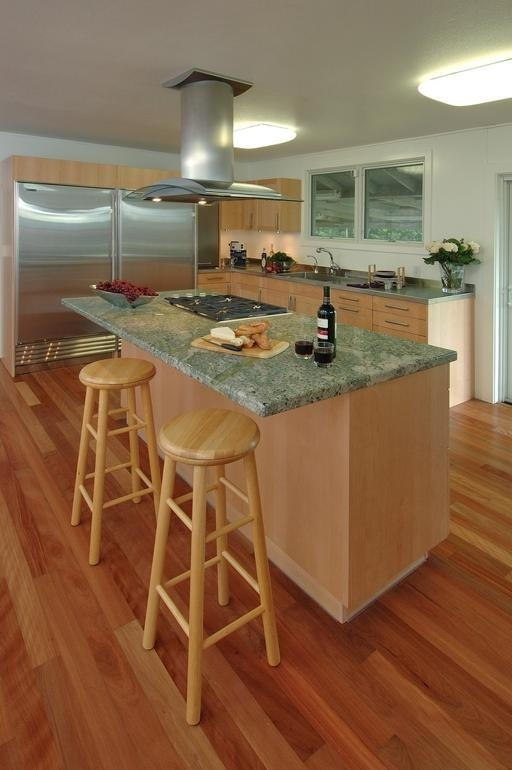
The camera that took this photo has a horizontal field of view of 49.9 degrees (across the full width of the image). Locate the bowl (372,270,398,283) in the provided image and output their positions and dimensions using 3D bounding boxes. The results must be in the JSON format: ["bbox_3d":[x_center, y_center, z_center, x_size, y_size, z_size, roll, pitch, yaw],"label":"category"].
[{"bbox_3d":[1.191,-0.988,5.038,0.196,0.098,0.218,7,16,24],"label":"bowl"}]

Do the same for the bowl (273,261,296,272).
[{"bbox_3d":[0.339,-1.375,6.453,0.118,0.110,0.344,14,20,43],"label":"bowl"}]

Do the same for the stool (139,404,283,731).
[{"bbox_3d":[-0.141,0.529,1.743,0.435,0.844,0.428,-16,25,-40],"label":"stool"}]

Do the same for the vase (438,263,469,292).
[{"bbox_3d":[1.573,-0.856,4.403,0.215,0.243,0.212,-6,10,-23],"label":"vase"}]

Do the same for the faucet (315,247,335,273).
[{"bbox_3d":[0.772,-1.378,6.092,0.094,0.265,0.445,-4,15,-16],"label":"faucet"}]

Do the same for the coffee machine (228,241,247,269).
[{"bbox_3d":[-0.251,-1.727,7.291,0.215,0.303,0.347,0,15,-3],"label":"coffee machine"}]

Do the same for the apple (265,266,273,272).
[{"bbox_3d":[0.155,-1.354,6.436,0.046,0.090,0.153,-1,6,-17],"label":"apple"}]

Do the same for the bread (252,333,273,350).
[{"bbox_3d":[0.027,-0.168,2.122,0.048,0.029,0.076,-5,17,-19],"label":"bread"}]

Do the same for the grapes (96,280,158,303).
[{"bbox_3d":[-0.758,-0.531,3.165,0.220,0.082,0.224,1,14,-23],"label":"grapes"}]

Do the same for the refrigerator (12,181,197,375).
[{"bbox_3d":[-1.383,-0.905,4.538,1.734,1.754,0.604,-7,20,-32],"label":"refrigerator"}]

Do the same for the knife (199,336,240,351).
[{"bbox_3d":[-0.137,-0.162,2.124,0.199,0.054,0.024,15,1,40],"label":"knife"}]

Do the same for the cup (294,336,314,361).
[{"bbox_3d":[0.170,-0.128,1.958,0.063,0.050,0.064,0,9,0],"label":"cup"}]

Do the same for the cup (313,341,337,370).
[{"bbox_3d":[0.228,-0.104,1.849,0.061,0.076,0.108,4,15,12],"label":"cup"}]

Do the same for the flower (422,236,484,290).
[{"bbox_3d":[1.547,-0.968,4.348,0.400,0.404,0.400,-1,9,11],"label":"flower"}]

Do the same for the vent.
[{"bbox_3d":[-0.225,-1.069,2.827,0.789,0.582,0.724,-6,9,-43],"label":"vent"}]
